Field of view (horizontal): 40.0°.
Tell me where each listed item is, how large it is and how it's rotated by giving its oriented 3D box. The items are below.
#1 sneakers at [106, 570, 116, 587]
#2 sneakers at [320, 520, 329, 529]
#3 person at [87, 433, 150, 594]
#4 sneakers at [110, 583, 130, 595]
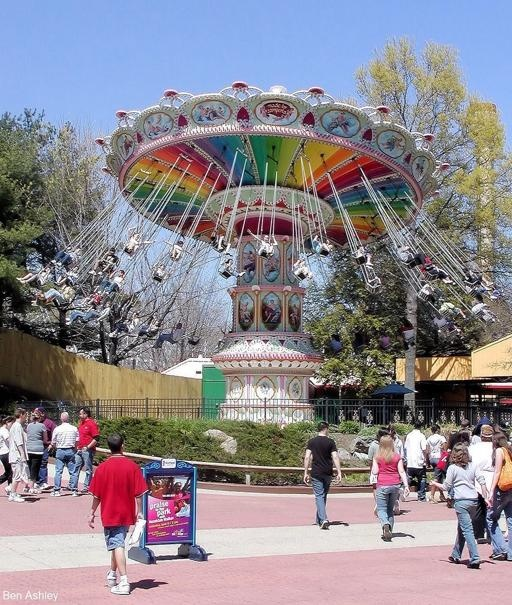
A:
[{"bbox_3d":[-1.133,2.191,5.551,0.070,0.144,0.134,1,-8,-7],"label":"sneakers"},{"bbox_3d":[0.934,3.037,9.567,0.116,0.100,0.206,-1,-8,3],"label":"sneakers"},{"bbox_3d":[-1.134,1.730,5.825,0.482,1.247,0.903,1,-8,-11],"label":"person"},{"bbox_3d":[-1.040,2.209,5.406,0.073,0.063,0.164,13,-16,-37],"label":"sneakers"}]
